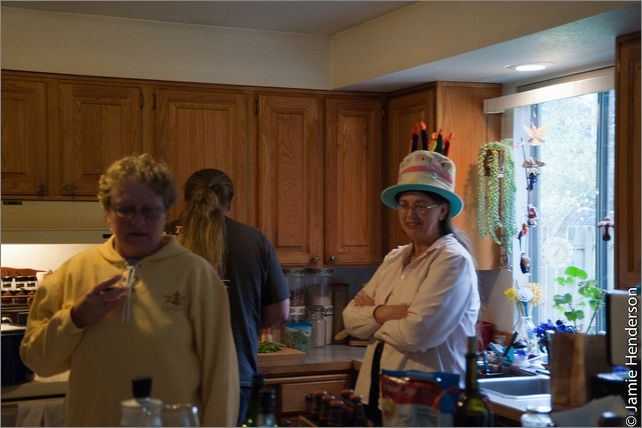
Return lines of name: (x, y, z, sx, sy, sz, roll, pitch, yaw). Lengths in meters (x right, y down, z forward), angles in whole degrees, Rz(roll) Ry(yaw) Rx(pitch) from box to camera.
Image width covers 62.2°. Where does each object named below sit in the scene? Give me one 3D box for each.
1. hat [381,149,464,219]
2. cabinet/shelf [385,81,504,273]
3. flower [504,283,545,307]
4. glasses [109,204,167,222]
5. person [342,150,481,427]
hat: (0.519, -0.173, 2.706, 0.431, 0.223, 0.387, 1, -20, 22)
cabinet/shelf: (0.737, -0.274, 3.798, 0.769, 1.286, 0.581, -1, 18, 34)
flower: (1.271, 0.492, 3.275, 0.180, 0.092, 0.165, 1, -5, -5)
glasses: (-0.643, -0.002, 1.884, 0.167, 0.045, 0.054, 0, -2, -23)
person: (0.424, 0.283, 2.564, 0.645, 1.212, 0.537, -1, -1, 14)
